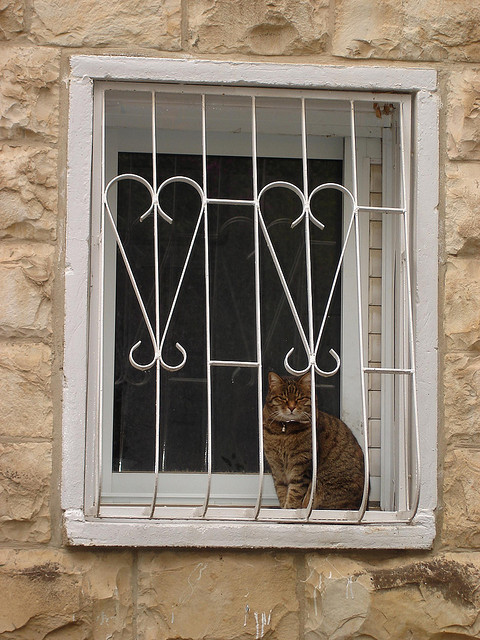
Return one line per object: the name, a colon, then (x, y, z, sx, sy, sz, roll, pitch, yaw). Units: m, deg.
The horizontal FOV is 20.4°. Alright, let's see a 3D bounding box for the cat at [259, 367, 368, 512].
cat: (0.240, 0.379, 4.265, 0.347, 0.731, 0.446, 2, 84, 1)
